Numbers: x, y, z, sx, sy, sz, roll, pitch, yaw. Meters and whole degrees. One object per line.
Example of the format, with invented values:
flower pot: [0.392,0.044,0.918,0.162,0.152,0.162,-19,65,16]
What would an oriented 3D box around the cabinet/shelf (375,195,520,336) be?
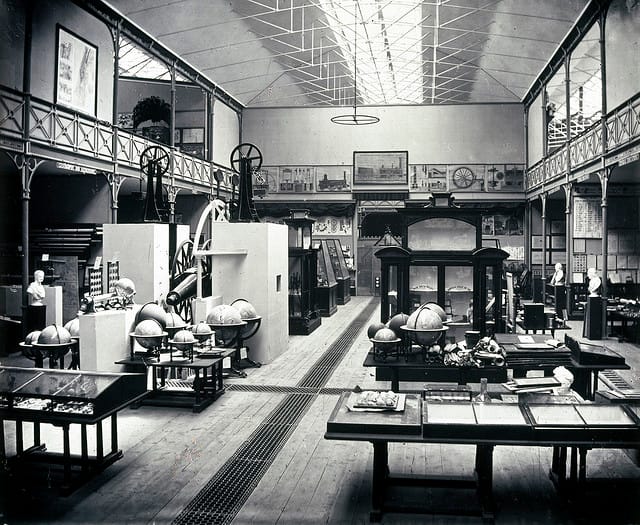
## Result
cabinet/shelf: [2.411,-0.207,12.483,2.030,2.333,5.129,1,7,10]

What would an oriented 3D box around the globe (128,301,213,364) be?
globe: [-2.126,0.986,8.836,0.993,0.754,1.029,-2,7,-10]

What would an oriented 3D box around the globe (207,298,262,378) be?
globe: [-1.452,1.174,10.142,0.849,1.185,0.875,0,0,9]

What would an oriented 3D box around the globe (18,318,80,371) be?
globe: [-3.611,1.156,8.493,0.674,0.712,0.785,-4,7,-29]

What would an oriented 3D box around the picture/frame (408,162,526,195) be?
picture/frame: [5.886,-3.408,25.314,4.390,1.171,0.814,2,7,18]

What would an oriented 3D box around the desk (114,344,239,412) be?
desk: [-1.896,1.649,8.760,0.862,0.465,0.917,0,-4,9]

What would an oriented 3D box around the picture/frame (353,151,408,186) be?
picture/frame: [2.486,-3.862,25.825,2.239,1.387,0.301,1,7,11]

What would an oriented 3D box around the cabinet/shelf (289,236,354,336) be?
cabinet/shelf: [-0.106,0.591,16.496,1.061,2.392,1.608,3,0,5]

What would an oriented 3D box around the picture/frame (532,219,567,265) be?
picture/frame: [8.385,-0.693,22.964,1.616,2.057,0.199,0,-7,8]
